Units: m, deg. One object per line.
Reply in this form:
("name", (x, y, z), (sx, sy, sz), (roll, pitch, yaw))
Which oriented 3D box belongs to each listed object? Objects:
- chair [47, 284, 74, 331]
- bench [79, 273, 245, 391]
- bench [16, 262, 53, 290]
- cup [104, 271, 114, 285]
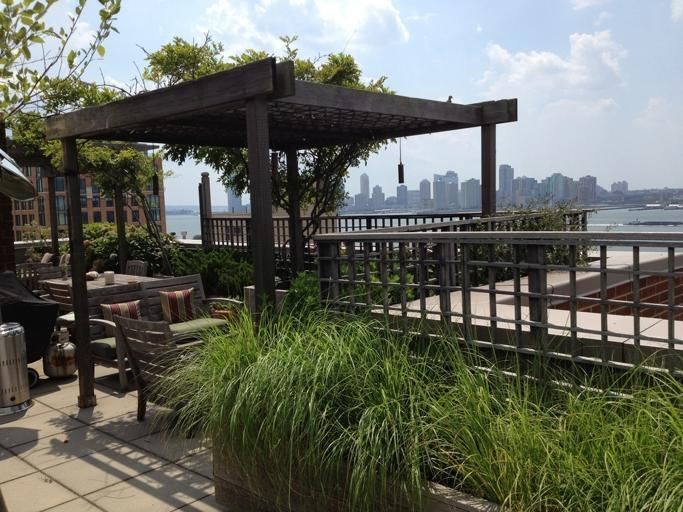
("chair", (-3.578, 0.644, 7.191), (0.278, 0.600, 0.975), (-4, 3, -28))
("bench", (-2.104, 0.848, 6.621), (0.701, 1.054, 1.758), (2, 5, 29))
("bench", (-4.799, 0.327, 8.834), (0.343, 0.250, 0.372), (3, 1, 21))
("cup", (-2.934, 0.282, 7.171), (0.138, 0.176, 0.151), (2, 3, 0))
